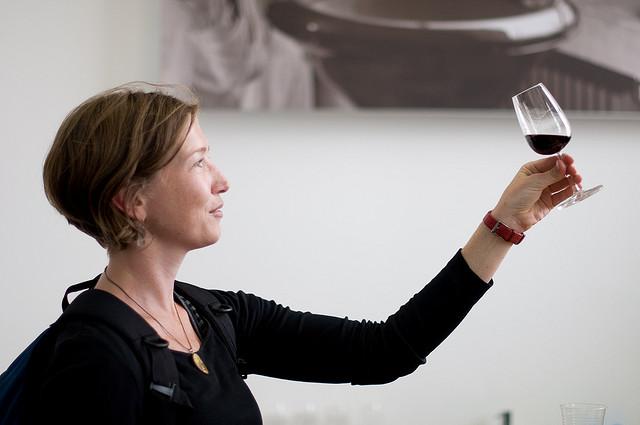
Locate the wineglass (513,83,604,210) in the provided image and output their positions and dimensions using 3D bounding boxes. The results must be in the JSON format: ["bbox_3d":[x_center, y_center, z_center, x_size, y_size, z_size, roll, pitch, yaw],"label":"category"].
[{"bbox_3d":[0.781,-0.230,2.771,0.157,0.396,0.162,-37,19,-35],"label":"wineglass"}]

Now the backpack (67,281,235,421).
[{"bbox_3d":[-0.481,0.423,2.594,0.409,0.490,0.437,-25,-29,32],"label":"backpack"}]
